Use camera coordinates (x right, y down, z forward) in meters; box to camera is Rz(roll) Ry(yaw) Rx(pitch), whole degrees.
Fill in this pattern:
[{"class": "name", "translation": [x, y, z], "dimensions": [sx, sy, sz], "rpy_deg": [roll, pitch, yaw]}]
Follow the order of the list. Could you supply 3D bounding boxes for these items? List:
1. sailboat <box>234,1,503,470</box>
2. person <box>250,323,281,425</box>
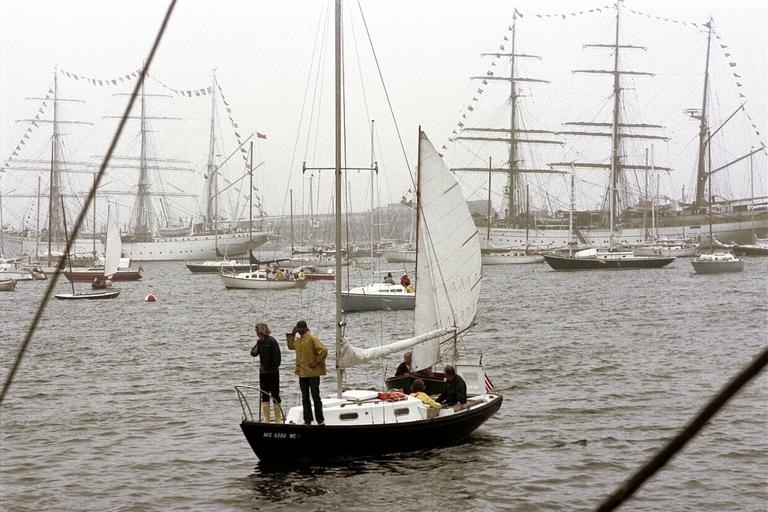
[{"class": "sailboat", "translation": [-0.326, 4.204, 50.553], "dimensions": [9.377, 24.160, 8.897], "rpy_deg": [3, -2, 8]}, {"class": "person", "translation": [-5.034, 4.856, 46.891], "dimensions": [1.422, 4.141, 1.106], "rpy_deg": [-1, 1, 36]}]
